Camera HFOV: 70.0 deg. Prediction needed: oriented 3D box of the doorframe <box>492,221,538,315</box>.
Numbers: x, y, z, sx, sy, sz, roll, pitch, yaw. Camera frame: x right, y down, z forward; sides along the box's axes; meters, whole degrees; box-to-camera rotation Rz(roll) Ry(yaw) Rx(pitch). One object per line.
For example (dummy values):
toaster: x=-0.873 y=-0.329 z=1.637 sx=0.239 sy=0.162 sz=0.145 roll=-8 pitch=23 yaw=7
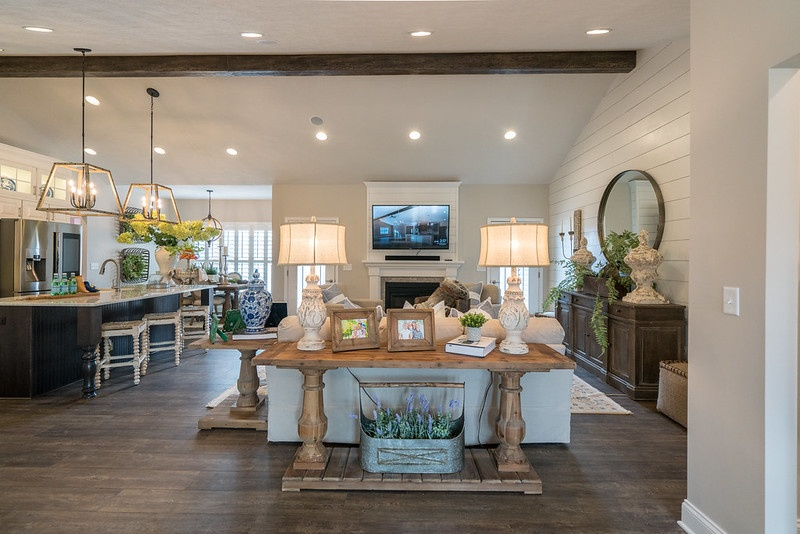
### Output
doorframe: x=1.824 y=0.170 z=9.644 sx=0.948 sy=1.971 sz=0.217 roll=-3 pitch=15 yaw=-33

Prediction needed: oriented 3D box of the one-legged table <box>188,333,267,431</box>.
one-legged table: x=-1.617 y=1.117 z=5.869 sx=0.988 sy=0.729 sz=0.891 roll=1 pitch=1 yaw=-3

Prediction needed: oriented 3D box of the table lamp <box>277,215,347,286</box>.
table lamp: x=-0.722 y=-0.114 z=5.118 sx=0.585 sy=0.557 sz=0.543 roll=0 pitch=-2 yaw=3

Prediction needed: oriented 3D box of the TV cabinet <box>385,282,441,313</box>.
TV cabinet: x=0.172 y=0.450 z=9.660 sx=0.875 sy=0.430 sz=0.161 roll=-2 pitch=4 yaw=-7

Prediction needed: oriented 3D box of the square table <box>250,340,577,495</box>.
square table: x=0.090 y=1.302 z=5.132 sx=2.670 sy=1.070 sz=1.068 roll=-1 pitch=0 yaw=6

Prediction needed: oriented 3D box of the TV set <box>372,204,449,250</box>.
TV set: x=0.171 y=-0.656 z=9.636 sx=1.485 sy=0.768 sz=0.047 roll=-3 pitch=5 yaw=-29

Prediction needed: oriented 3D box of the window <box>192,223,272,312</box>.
window: x=-2.834 y=-0.036 z=9.697 sx=1.967 sy=1.997 sz=0.108 roll=0 pitch=-2 yaw=-2

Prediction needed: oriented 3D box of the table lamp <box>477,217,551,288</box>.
table lamp: x=0.958 y=-0.159 z=5.102 sx=0.575 sy=0.543 sz=0.545 roll=0 pitch=-2 yaw=-2

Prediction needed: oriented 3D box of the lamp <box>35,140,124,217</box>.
lamp: x=-4.333 y=-1.254 z=7.776 sx=0.989 sy=0.989 sz=0.981 roll=6 pitch=4 yaw=36

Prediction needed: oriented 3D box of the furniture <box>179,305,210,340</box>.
furniture: x=-2.975 y=0.810 z=8.290 sx=0.590 sy=0.538 sz=0.566 roll=0 pitch=-3 yaw=-7

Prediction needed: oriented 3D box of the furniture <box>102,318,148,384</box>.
furniture: x=-3.282 y=0.984 z=6.773 sx=0.425 sy=0.524 sz=0.475 roll=-4 pitch=-6 yaw=-18
